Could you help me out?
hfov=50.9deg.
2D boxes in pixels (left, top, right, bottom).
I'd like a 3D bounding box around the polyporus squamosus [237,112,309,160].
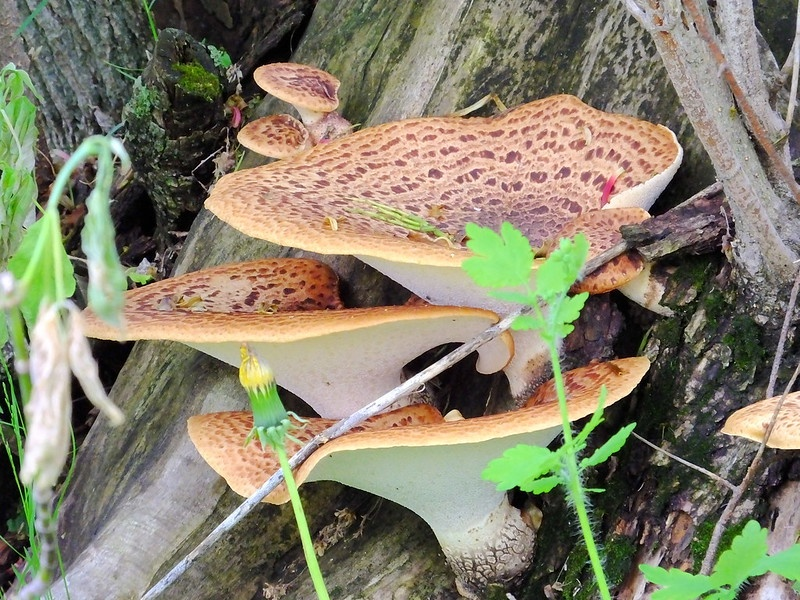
[{"bbox_3d":[-0.614,-0.799,4.153,0.340,0.109,0.314,13,46,11],"label":"polyporus squamosus"}]
